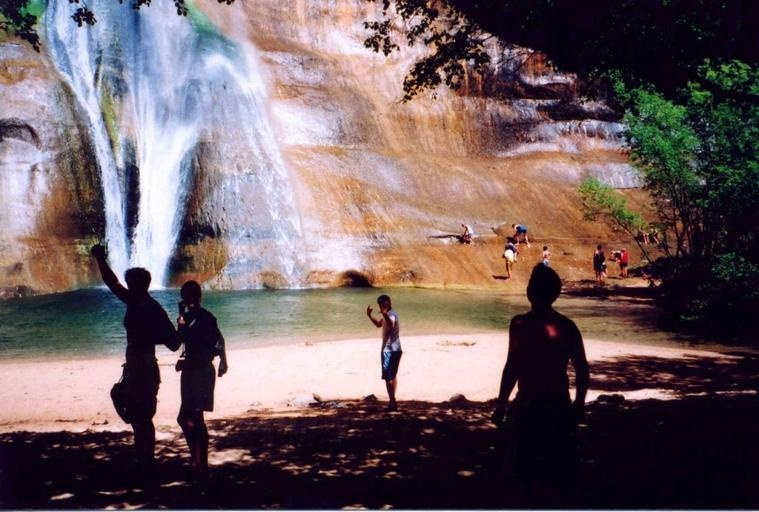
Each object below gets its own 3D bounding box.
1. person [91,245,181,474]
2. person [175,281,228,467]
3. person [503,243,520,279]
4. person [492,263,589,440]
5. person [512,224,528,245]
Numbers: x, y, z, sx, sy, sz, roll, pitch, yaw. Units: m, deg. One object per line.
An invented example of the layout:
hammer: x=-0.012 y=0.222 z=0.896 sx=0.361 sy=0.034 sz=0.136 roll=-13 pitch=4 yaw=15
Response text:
person: x=-4.563 y=2.114 z=12.539 sx=1.377 sy=3.790 sz=0.992 roll=2 pitch=4 yaw=40
person: x=-3.402 y=2.262 z=12.602 sx=0.857 sy=3.581 sz=0.472 roll=-1 pitch=3 yaw=-17
person: x=6.895 y=0.213 z=35.387 sx=0.948 sy=1.956 sz=0.439 roll=11 pitch=6 yaw=33
person: x=2.735 y=1.498 z=11.284 sx=1.515 sy=2.683 sz=0.558 roll=0 pitch=3 yaw=11
person: x=8.034 y=-1.230 z=38.007 sx=0.723 sy=1.151 sz=2.888 roll=0 pitch=3 yaw=14
